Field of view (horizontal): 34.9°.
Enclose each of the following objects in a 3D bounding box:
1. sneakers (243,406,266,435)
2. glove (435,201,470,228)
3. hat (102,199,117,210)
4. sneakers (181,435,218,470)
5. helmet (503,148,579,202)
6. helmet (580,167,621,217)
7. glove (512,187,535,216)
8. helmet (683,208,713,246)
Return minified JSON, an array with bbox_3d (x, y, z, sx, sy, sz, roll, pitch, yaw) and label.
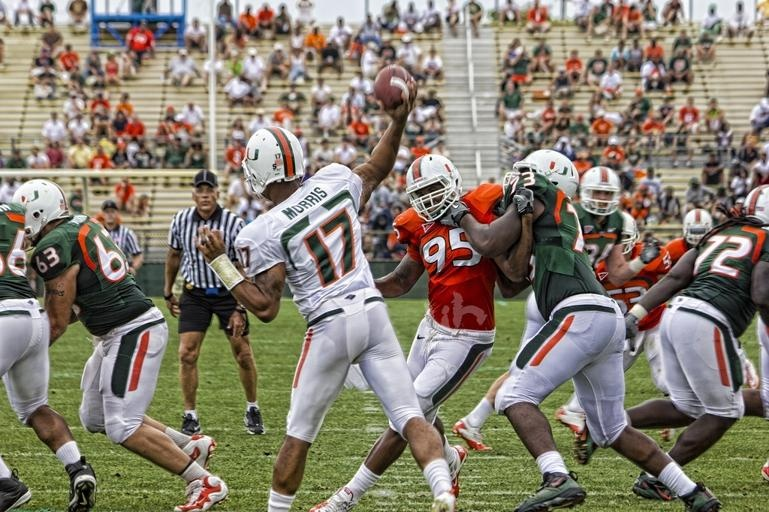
[{"bbox_3d":[-1.432,1.851,13.542,0.137,0.180,0.367,-2,22,-19],"label":"sneakers"},{"bbox_3d":[0.680,-0.405,12.069,0.278,0.130,0.201,-42,13,-14],"label":"glove"},{"bbox_3d":[-3.785,-0.676,16.885,0.199,0.132,0.344,-1,-3,-8],"label":"hat"},{"bbox_3d":[-1.860,1.988,12.450,0.434,0.179,0.205,40,-21,6],"label":"sneakers"},{"bbox_3d":[1.623,-0.769,12.242,0.609,0.523,0.511,22,1,5],"label":"helmet"},{"bbox_3d":[2.400,-0.741,13.454,0.410,0.519,0.604,5,13,7],"label":"helmet"},{"bbox_3d":[1.347,-0.510,11.768,0.195,0.255,0.227,-10,24,-25],"label":"glove"},{"bbox_3d":[3.728,-0.345,14.494,0.313,0.426,0.463,1,17,19],"label":"helmet"}]
